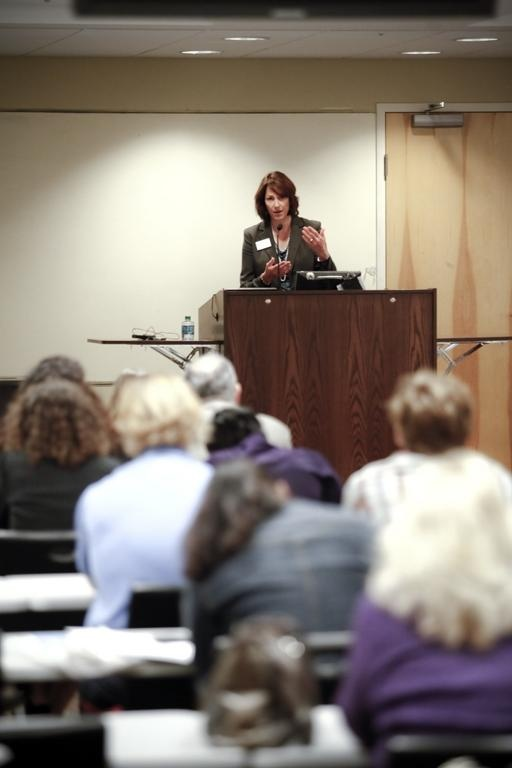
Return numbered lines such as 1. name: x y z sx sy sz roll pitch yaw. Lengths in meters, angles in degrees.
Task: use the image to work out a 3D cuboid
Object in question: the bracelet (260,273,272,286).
1. bracelet: 0.053 -0.519 3.680 0.042 0.045 0.047 0 -15 7
